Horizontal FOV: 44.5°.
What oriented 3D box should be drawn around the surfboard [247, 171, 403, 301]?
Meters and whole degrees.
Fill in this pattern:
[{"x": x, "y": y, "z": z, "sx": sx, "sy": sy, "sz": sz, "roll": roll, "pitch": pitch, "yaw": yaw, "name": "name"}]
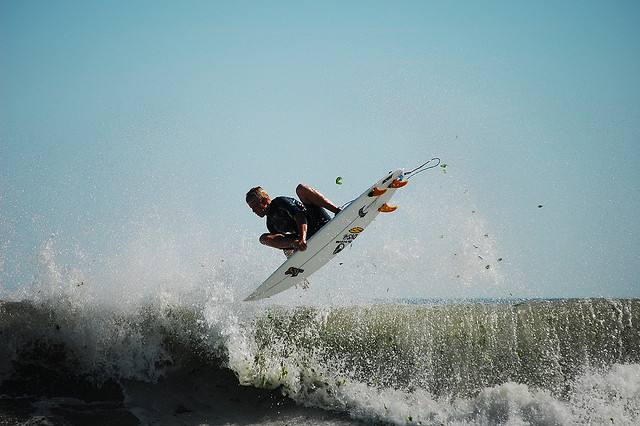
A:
[{"x": -0.099, "y": 0.260, "z": 17.880, "sx": 0.415, "sy": 4.058, "sz": 0.705, "roll": 51, "pitch": 0, "yaw": 40, "name": "surfboard"}]
